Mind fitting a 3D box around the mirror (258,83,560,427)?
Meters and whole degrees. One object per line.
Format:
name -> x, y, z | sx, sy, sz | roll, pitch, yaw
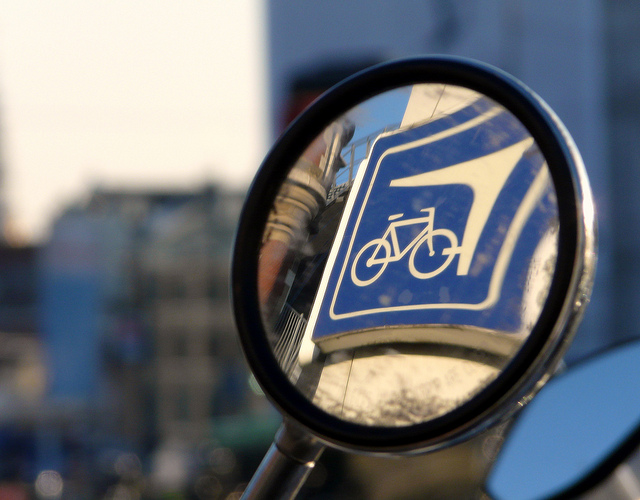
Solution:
mirror -> 0.222, 0.005, 3.786 | 0.882, 0.130, 1.195 | 0, 48, 16
